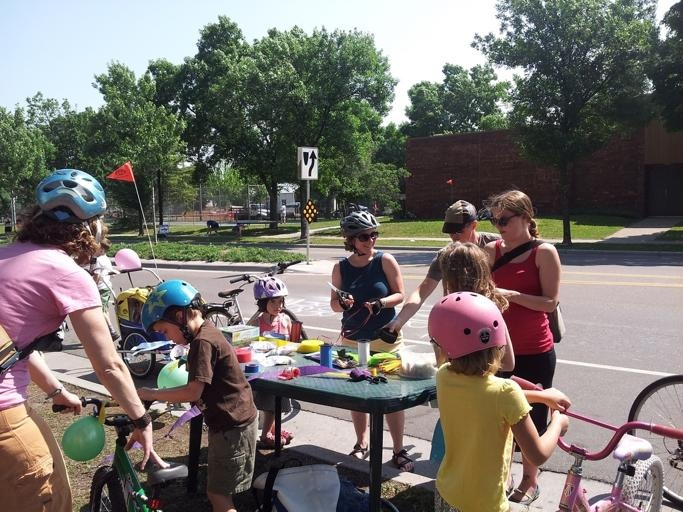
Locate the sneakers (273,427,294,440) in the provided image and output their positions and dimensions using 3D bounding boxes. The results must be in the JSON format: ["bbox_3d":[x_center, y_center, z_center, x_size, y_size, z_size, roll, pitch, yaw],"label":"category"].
[{"bbox_3d":[-0.581,1.823,5.672,0.102,0.133,0.293,0,-15,-25],"label":"sneakers"}]

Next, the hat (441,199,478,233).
[{"bbox_3d":[1.043,-0.346,4.976,0.333,0.218,0.236,-24,15,-27],"label":"hat"}]

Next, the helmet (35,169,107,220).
[{"bbox_3d":[-1.634,-0.353,3.382,0.343,0.294,0.474,8,-3,-20],"label":"helmet"}]

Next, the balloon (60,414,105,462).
[{"bbox_3d":[-1.564,1.129,3.400,0.237,0.310,0.243,-6,26,-39],"label":"balloon"}]

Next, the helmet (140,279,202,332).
[{"bbox_3d":[-1.203,0.294,3.879,0.371,0.302,0.294,-5,7,-16],"label":"helmet"}]

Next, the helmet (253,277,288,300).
[{"bbox_3d":[-0.767,0.362,6.016,0.318,0.176,0.233,-6,-2,24],"label":"helmet"}]

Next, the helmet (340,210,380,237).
[{"bbox_3d":[0.177,-0.331,5.278,0.299,0.163,0.220,-15,1,28],"label":"helmet"}]

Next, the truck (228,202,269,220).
[{"bbox_3d":[-9.050,-4.433,55.994,3.020,1.654,19.312,-5,5,-8],"label":"truck"}]

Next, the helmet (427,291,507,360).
[{"bbox_3d":[0.741,0.424,3.349,0.367,0.414,0.486,-8,6,-28],"label":"helmet"}]

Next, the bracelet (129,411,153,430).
[{"bbox_3d":[-1.187,0.998,3.326,0.102,0.078,0.107,-18,-8,9],"label":"bracelet"}]

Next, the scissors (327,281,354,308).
[{"bbox_3d":[0.009,0.359,5.439,0.073,0.147,0.286,-27,62,-37],"label":"scissors"}]

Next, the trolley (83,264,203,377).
[{"bbox_3d":[-2.931,0.913,8.279,1.367,1.495,0.994,-1,5,22],"label":"trolley"}]
